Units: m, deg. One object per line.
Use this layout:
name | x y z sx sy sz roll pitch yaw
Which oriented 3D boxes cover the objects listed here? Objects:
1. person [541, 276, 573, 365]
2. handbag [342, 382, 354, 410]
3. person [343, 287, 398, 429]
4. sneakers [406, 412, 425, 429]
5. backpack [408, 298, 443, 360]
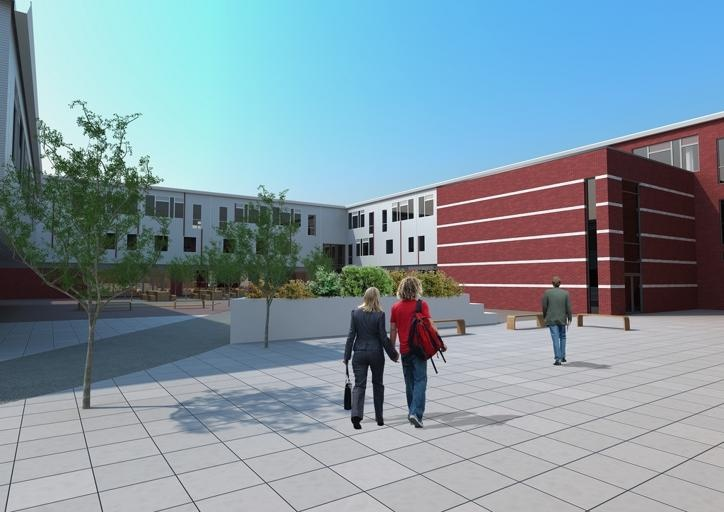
person | 5.357 1.786 12.129 0.655 2.367 1.254 0 1 22
handbag | -0.238 2.413 7.517 0.105 0.511 0.280 0 1 1
person | 0.112 1.759 7.589 0.865 2.362 0.404 0 1 0
sneakers | 0.921 2.829 7.557 0.245 0.218 0.272 0 1 5
backpack | 1.106 1.305 7.575 0.599 1.020 0.347 0 1 9
